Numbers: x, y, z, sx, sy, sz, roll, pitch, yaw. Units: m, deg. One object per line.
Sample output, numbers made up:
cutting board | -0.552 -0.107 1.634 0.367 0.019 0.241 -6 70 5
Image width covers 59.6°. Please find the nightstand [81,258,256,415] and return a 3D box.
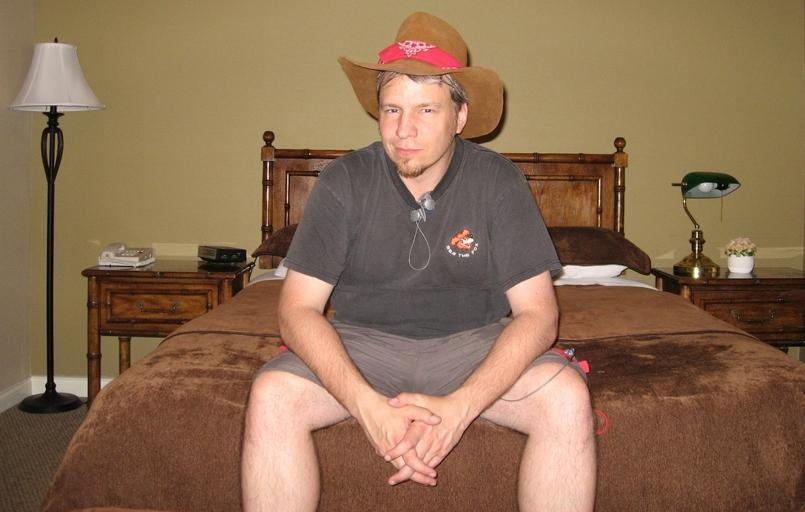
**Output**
nightstand | -1.394 0.396 4.664 1.118 1.029 0.848 0 6 0

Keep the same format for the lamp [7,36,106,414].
lamp | -2.232 -0.219 4.533 0.500 2.442 0.607 -3 5 -38

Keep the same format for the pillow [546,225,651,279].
pillow | 1.209 -0.046 4.318 0.471 0.114 0.389 3 9 -7

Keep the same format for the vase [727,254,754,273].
vase | 2.189 0.055 4.531 0.135 0.100 0.129 0 -3 22

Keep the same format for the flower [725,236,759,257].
flower | 2.219 -0.057 4.610 0.158 0.070 0.158 -4 2 23
